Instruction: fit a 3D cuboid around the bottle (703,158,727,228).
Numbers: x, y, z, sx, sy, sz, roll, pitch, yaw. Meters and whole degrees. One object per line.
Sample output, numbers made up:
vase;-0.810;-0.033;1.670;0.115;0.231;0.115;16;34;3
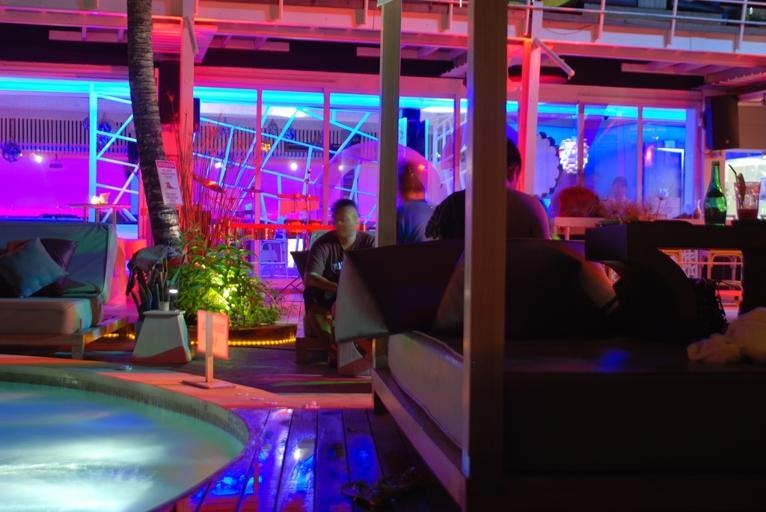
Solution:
bottle;1.707;-0.330;3.711;0.095;0.250;0.519;0;0;24
